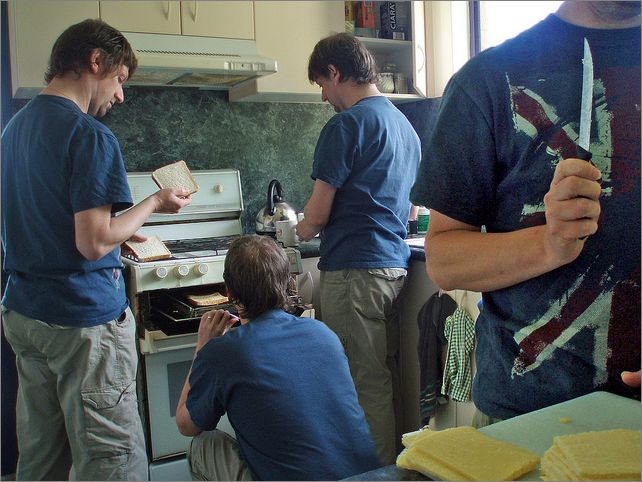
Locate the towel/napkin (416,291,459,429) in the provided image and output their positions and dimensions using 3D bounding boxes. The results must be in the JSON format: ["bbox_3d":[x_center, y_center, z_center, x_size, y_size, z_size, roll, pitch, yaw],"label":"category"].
[{"bbox_3d":[0.434,0.449,2.171,0.099,0.459,0.191,4,10,5],"label":"towel/napkin"}]

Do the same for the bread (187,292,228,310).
[{"bbox_3d":[-0.450,0.232,2.151,0.111,0.026,0.109,-2,6,-27],"label":"bread"}]

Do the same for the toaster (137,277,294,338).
[{"bbox_3d":[-0.363,0.220,1.786,0.285,0.068,0.252,0,1,-23],"label":"toaster"}]

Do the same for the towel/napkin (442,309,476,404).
[{"bbox_3d":[0.514,0.439,2.086,0.084,0.328,0.167,5,9,9],"label":"towel/napkin"}]

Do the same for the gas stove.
[{"bbox_3d":[-0.583,0.000,2.363,0.608,0.104,0.578,-4,6,-34],"label":"gas stove"}]

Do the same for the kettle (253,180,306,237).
[{"bbox_3d":[-0.232,-0.147,2.676,0.195,0.286,0.200,-4,14,-44],"label":"kettle"}]
